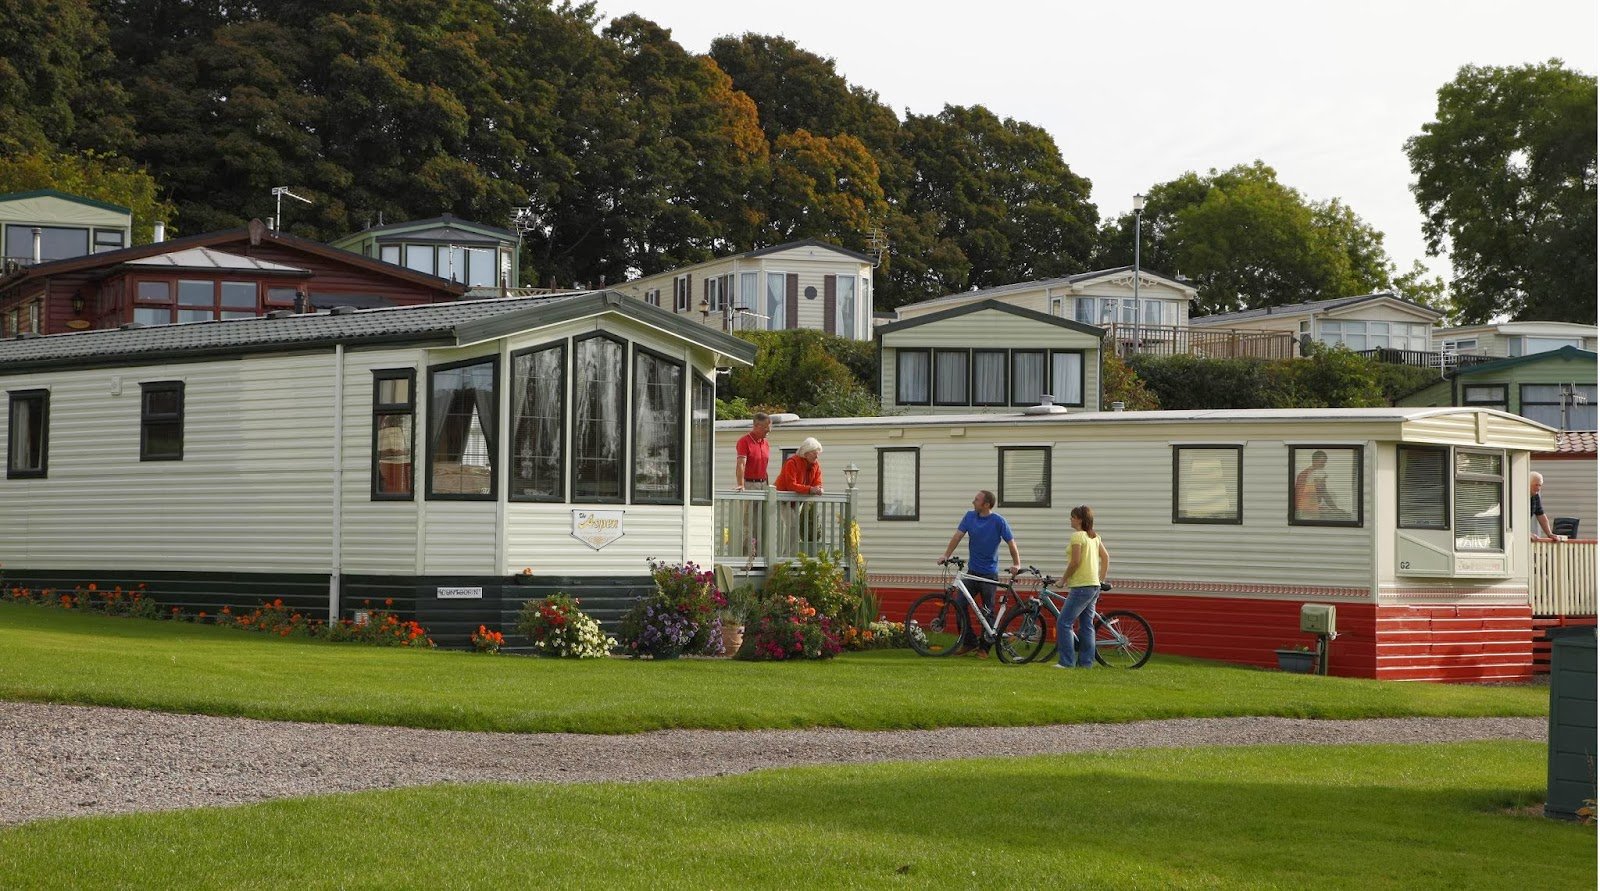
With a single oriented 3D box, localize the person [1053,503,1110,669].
[{"bbox_3d":[5.467,2.692,35.361,1.058,2.963,1.079,1,0,-12],"label":"person"}]
